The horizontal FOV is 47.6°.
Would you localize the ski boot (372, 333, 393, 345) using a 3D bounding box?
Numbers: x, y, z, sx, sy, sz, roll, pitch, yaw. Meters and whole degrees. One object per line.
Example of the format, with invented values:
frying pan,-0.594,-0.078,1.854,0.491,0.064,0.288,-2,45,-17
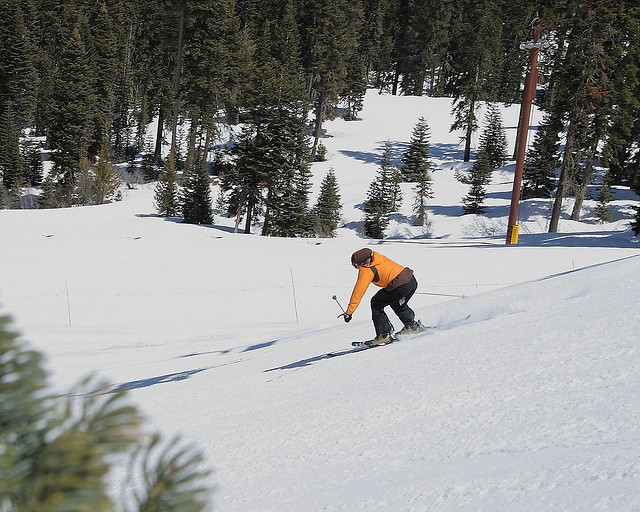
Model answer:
ski boot,0.940,1.252,10.901,0.292,0.173,0.111,4,8,7
